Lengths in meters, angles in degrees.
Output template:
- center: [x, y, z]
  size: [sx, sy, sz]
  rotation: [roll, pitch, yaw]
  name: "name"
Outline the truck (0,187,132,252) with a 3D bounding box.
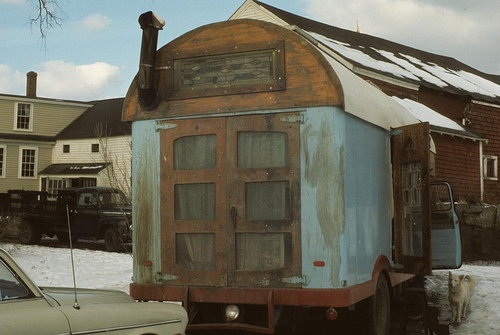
- center: [-6.177, 1.815, 28.320]
  size: [5.307, 2.519, 1.496]
  rotation: [-7, -10, 28]
  name: "truck"
